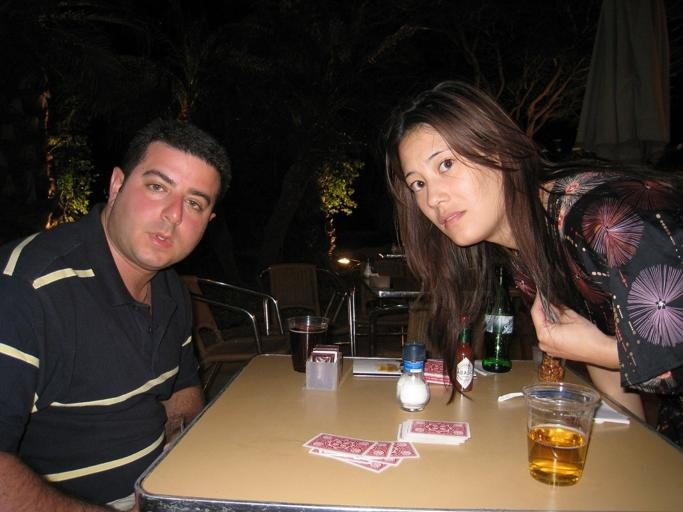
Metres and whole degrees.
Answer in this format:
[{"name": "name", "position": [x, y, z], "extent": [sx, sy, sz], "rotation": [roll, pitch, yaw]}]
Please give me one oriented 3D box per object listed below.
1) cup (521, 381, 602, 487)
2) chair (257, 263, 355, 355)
[{"name": "cup", "position": [0.710, 0.542, 1.562], "extent": [0.247, 0.283, 0.271], "rotation": [-2, 0, 0]}, {"name": "chair", "position": [-0.451, 0.521, 5.690], "extent": [1.198, 1.659, 1.191], "rotation": [2, -15, -8]}]
